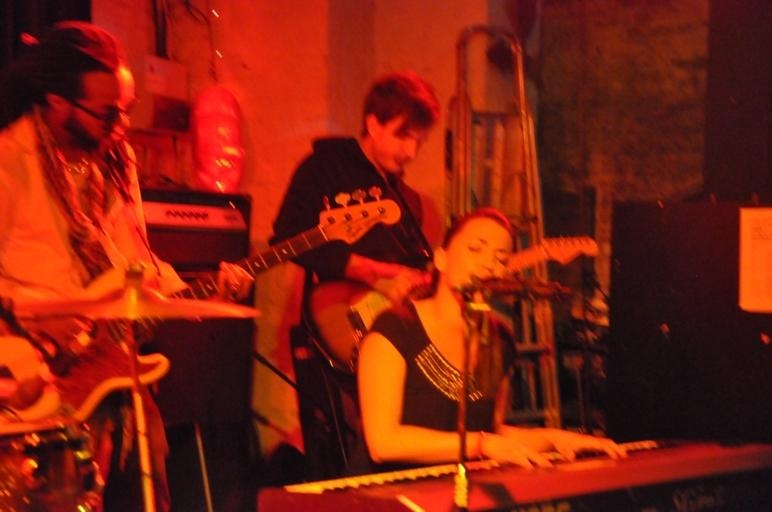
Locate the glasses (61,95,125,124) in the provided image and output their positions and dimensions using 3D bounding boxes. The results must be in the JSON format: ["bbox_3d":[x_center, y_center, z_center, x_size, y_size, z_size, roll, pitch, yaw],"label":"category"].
[{"bbox_3d":[-1.219,-0.619,3.369,0.143,0.042,0.144,34,11,8],"label":"glasses"}]

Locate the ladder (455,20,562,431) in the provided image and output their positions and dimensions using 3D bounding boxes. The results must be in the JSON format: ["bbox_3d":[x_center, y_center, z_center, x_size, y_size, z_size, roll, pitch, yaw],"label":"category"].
[{"bbox_3d":[0.562,-0.160,3.580,0.346,2.091,0.085,3,-24,-4],"label":"ladder"}]

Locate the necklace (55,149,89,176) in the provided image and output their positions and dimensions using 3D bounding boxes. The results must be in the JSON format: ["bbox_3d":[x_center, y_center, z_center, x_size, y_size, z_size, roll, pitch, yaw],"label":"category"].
[{"bbox_3d":[-1.338,-0.399,3.353,0.137,0.073,0.025,42,-20,-27],"label":"necklace"}]

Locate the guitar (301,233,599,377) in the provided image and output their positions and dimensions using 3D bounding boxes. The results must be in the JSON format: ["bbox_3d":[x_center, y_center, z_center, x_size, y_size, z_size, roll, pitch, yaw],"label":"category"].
[{"bbox_3d":[0.268,0.119,3.804,1.322,0.594,0.198,-21,-1,-7],"label":"guitar"}]

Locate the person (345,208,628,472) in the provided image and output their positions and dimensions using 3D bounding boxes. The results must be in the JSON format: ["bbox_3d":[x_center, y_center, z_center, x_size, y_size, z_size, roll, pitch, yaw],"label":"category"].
[{"bbox_3d":[0.480,0.400,3.551,0.842,1.365,1.143,14,-18,-40],"label":"person"}]
